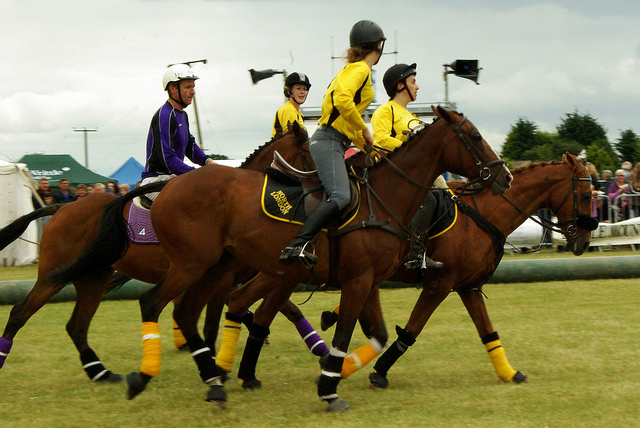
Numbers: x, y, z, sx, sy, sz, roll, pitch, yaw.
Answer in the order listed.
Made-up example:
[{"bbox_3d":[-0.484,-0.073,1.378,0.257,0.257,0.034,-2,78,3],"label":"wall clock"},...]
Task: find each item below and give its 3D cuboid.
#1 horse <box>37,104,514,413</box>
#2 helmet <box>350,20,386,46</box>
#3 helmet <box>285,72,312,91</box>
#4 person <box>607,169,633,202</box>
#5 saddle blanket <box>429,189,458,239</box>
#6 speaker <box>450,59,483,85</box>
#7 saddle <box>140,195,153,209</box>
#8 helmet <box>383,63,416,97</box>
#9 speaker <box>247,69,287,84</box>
[{"bbox_3d":[-0.620,0.619,9.818,6.505,3.077,1.314,-3,-2,-17],"label":"horse"},{"bbox_3d":[0.566,-2.131,9.727,0.399,0.289,0.464,1,12,2],"label":"helmet"},{"bbox_3d":[-0.322,-1.902,11.900,0.352,0.243,0.212,1,12,3],"label":"helmet"},{"bbox_3d":[6.547,-0.631,18.085,0.558,0.642,0.387,-5,14,-24],"label":"person"},{"bbox_3d":[1.551,0.008,10.439,0.494,0.553,0.170,-19,-29,34],"label":"saddle blanket"},{"bbox_3d":[3.316,-3.254,18.925,0.653,0.515,0.660,2,12,7],"label":"speaker"},{"bbox_3d":[-2.140,-0.154,10.275,0.206,0.155,0.176,5,12,30],"label":"saddle"},{"bbox_3d":[1.083,-1.811,11.227,0.406,0.444,0.236,2,13,6],"label":"helmet"},{"bbox_3d":[-1.218,-3.141,18.925,0.766,0.348,1.411,0,11,-2],"label":"speaker"}]
